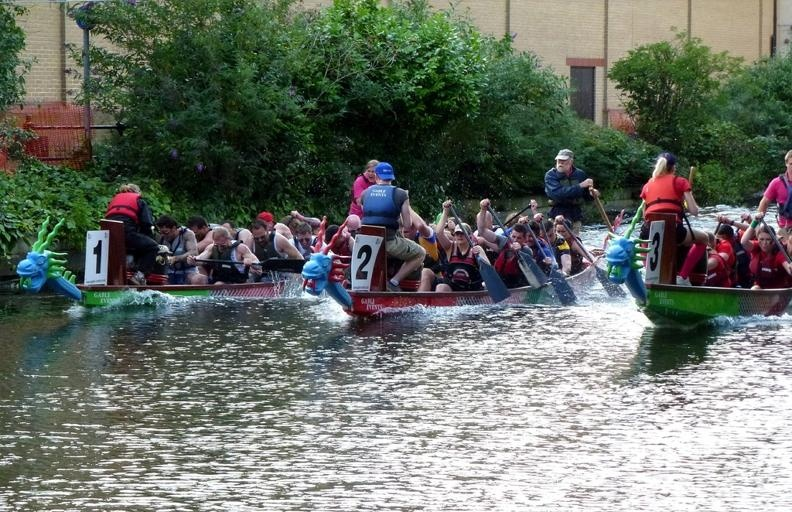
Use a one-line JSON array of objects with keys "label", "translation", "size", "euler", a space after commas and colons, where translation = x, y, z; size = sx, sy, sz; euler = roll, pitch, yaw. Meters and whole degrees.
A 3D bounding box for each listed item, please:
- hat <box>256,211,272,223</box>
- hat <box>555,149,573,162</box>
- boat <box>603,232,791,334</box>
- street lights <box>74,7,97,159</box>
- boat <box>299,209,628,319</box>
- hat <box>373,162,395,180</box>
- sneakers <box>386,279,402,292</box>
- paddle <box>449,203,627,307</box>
[{"label": "hat", "translation": [-2.678, -0.796, 27.674], "size": [0.258, 0.205, 0.372], "euler": [20, 14, 26]}, {"label": "hat", "translation": [3.529, -2.097, 27.774], "size": [0.329, 0.229, 0.478], "euler": [0, -7, 31]}, {"label": "boat", "translation": [5.156, 0.552, 23.290], "size": [4.143, 1.501, 1.297], "euler": [11, -16, -31]}, {"label": "street lights", "translation": [-7.368, -4.180, 32.251], "size": [0.428, 3.854, 0.958], "euler": [-3, 0, -11]}, {"label": "boat", "translation": [1.495, 0.431, 25.963], "size": [8.240, 2.315, 1.758], "euler": [-4, 5, -27]}, {"label": "hat", "translation": [-0.202, -1.544, 24.606], "size": [0.335, 0.238, 0.467], "euler": [1, 19, -11]}, {"label": "sneakers", "translation": [-0.039, 0.562, 24.776], "size": [0.324, 0.134, 0.114], "euler": [24, 22, -49]}, {"label": "paddle", "translation": [2.762, 0.060, 26.076], "size": [4.101, 0.824, 0.593], "euler": [39, 14, -48]}]
